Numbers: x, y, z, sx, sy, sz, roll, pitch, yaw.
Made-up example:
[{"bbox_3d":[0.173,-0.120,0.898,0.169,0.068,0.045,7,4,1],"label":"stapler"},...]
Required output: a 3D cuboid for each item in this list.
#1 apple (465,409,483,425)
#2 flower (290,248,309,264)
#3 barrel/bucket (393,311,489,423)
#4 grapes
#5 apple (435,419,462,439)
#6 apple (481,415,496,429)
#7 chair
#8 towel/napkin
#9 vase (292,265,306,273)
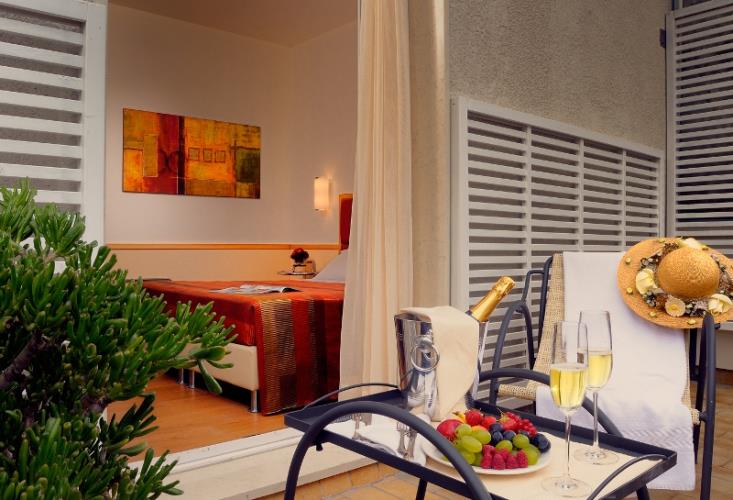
[{"bbox_3d":[0.282,0.437,1.388,0.033,0.034,0.034,13,-10,16],"label":"apple"},{"bbox_3d":[-0.812,0.076,6.463,0.170,0.173,0.224,1,11,10],"label":"flower"},{"bbox_3d":[0.203,0.335,1.594,0.292,0.302,0.299,3,-6,0],"label":"barrel/bucket"},{"bbox_3d":[0.331,0.481,1.325,0.292,0.097,0.104,0,1,-2],"label":"grapes"},{"bbox_3d":[0.210,0.452,1.343,0.040,0.040,0.049,-12,-6,7],"label":"apple"},{"bbox_3d":[0.322,0.452,1.387,0.028,0.027,0.038,17,45,15],"label":"apple"},{"bbox_3d":[0.990,0.425,2.642,0.919,1.098,1.149,2,2,24],"label":"chair"},{"bbox_3d":[1.140,0.426,2.466,0.692,0.831,1.092,2,8,24],"label":"towel/napkin"},{"bbox_3d":[-0.825,0.232,6.489,0.132,0.129,0.100,4,-3,-16],"label":"vase"}]
